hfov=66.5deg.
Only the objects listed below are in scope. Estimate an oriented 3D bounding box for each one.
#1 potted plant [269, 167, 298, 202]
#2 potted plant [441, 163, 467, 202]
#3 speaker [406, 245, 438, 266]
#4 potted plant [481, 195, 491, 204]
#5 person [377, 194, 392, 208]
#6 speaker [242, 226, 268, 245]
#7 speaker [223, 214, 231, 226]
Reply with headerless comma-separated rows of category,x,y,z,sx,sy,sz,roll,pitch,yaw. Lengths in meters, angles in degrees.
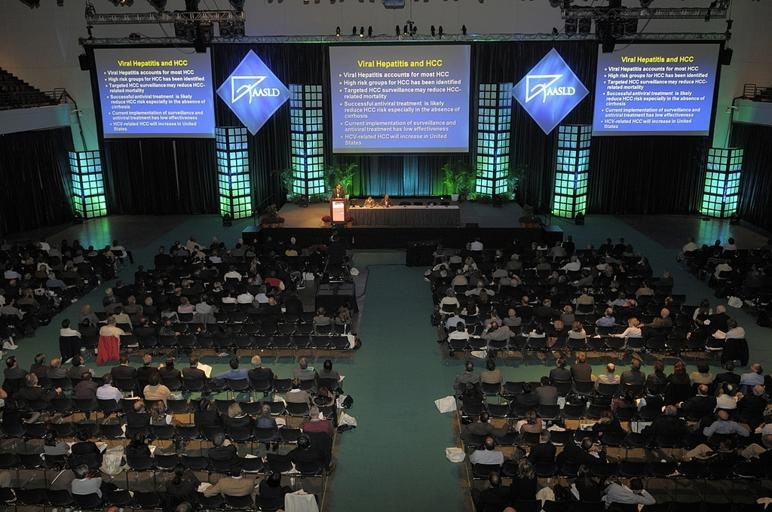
potted plant,-5.226,-3.713,30.720,1.715,1.680,2.218,-4,-74,-1
potted plant,3.621,-3.847,30.597,1.827,1.748,1.703,-2,-78,-3
speaker,1.426,-0.016,24.045,1.526,0.788,0.967,2,-73,4
potted plant,5.080,-2.859,29.768,0.362,0.424,0.145,-6,-71,-16
person,-0.093,-2.511,27.093,0.693,0.932,0.388,0,-83,0
speaker,-5.749,-0.902,26.004,1.116,1.030,0.752,2,-88,-6
speaker,-7.723,-1.735,28.702,0.529,0.531,0.677,-1,-88,-17
